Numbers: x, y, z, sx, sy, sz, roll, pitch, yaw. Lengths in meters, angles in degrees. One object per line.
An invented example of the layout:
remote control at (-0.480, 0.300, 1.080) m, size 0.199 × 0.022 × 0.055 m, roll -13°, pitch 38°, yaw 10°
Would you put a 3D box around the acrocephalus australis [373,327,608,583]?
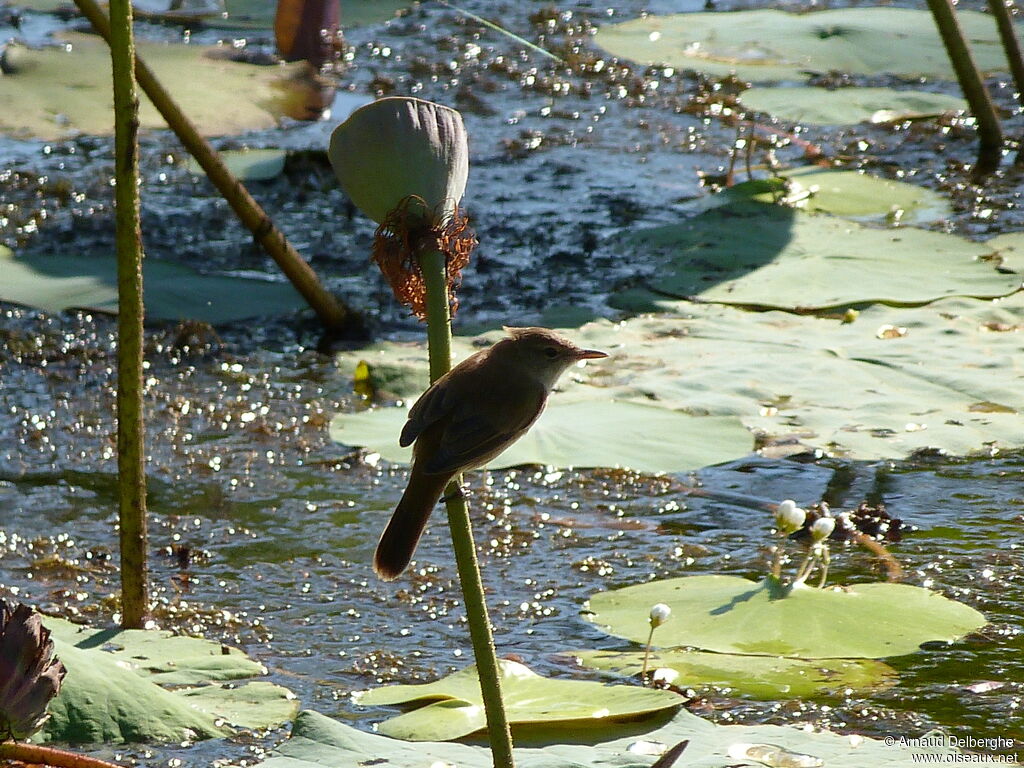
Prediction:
acrocephalus australis at (-0.083, 0.163, 3.834) m, size 0.199 × 0.579 × 0.521 m, roll 13°, pitch 18°, yaw 41°
